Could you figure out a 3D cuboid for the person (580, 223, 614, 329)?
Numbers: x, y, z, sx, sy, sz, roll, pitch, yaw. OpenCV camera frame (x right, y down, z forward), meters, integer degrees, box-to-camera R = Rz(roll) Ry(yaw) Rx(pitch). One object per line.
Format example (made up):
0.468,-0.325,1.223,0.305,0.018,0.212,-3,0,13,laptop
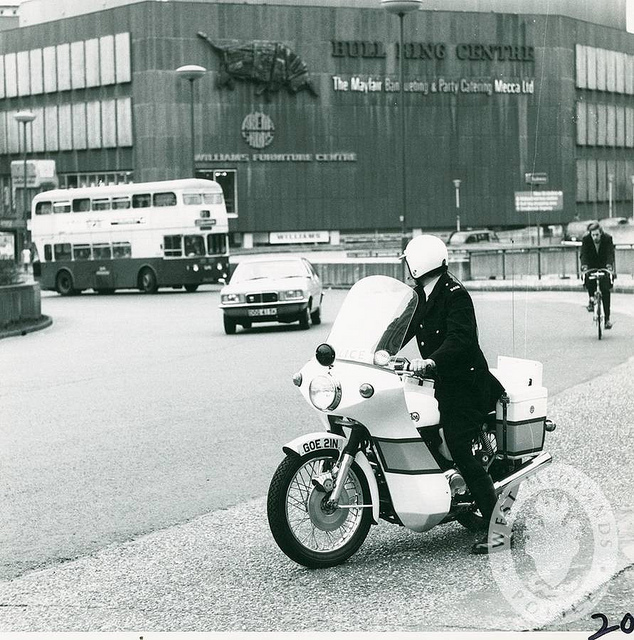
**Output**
4.445,-0.660,16.663,0.503,1.743,1.685,-1,4,14,person

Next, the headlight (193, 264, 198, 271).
-4.401,-1.871,37.559,0.146,0.236,0.043,-1,1,-10,headlight

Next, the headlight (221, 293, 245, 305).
-1.646,-0.406,20.517,0.406,0.198,0.102,-2,3,10,headlight

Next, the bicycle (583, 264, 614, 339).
4.674,-0.323,17.405,0.464,1.229,1.987,-1,4,15,bicycle

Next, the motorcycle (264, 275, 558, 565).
0.209,0.578,5.639,2.017,1.753,0.782,1,-1,-39,motorcycle

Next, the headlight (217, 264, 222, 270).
-3.572,-1.906,37.980,0.139,0.169,0.160,3,0,-8,headlight

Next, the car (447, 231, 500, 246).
7.937,-4.137,53.080,1.850,1.048,1.092,0,1,-34,car

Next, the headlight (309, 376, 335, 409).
0.020,0.342,4.873,0.129,0.147,0.049,0,3,32,headlight

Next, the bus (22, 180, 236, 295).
-7.485,-3.057,40.334,7.545,4.411,2.718,-1,4,30,bus
